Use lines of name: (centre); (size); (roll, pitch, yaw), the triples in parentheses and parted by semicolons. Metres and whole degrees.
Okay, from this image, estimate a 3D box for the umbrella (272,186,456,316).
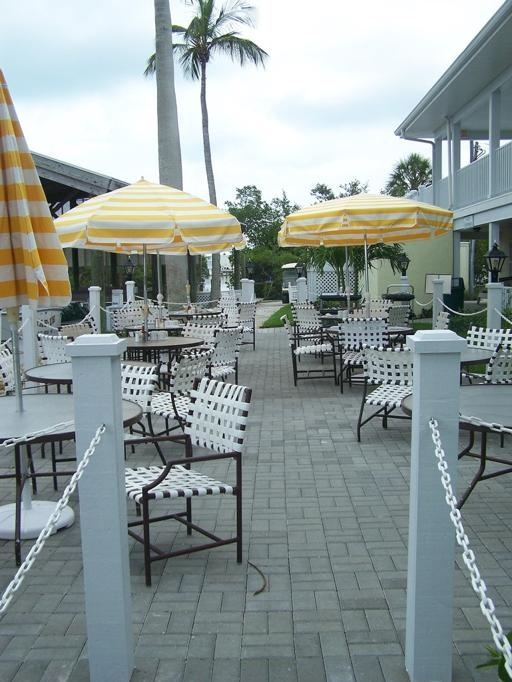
umbrella: (1.584, -1.378, 8.407); (2.216, 1.420, 2.213); (-1, 17, 7)
